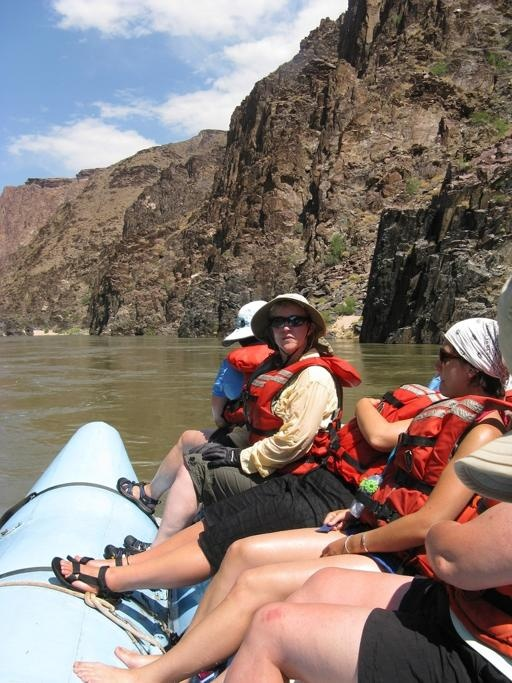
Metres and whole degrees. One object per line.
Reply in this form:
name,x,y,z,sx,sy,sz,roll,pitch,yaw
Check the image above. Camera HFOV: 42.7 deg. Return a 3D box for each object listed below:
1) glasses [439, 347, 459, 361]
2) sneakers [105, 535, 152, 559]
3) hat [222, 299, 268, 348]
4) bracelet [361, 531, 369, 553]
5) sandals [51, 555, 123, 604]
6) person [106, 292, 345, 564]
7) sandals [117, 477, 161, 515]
glasses,0.574,0.042,1.977,0.051,0.015,0.047,19,14,-3
sneakers,-0.498,0.852,2.727,0.237,0.083,0.073,9,-6,-6
hat,-0.068,-0.103,3.510,0.239,0.136,0.273,-5,-4,-3
bracelet,0.306,0.576,1.865,0.020,0.043,0.042,-4,-16,0
sandals,-0.609,0.829,2.306,0.246,0.060,0.124,27,-3,-17
person,-0.147,0.375,2.659,1.063,1.095,0.653,6,0,-7
sandals,-0.601,0.778,3.355,0.248,0.098,0.130,34,7,13
